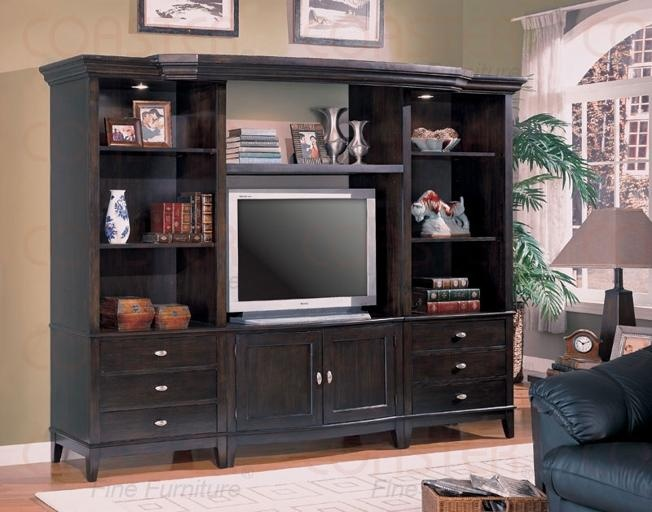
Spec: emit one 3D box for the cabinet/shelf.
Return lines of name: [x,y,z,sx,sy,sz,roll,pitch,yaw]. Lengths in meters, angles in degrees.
cabinet/shelf: [-0.098,0.092,3.995,2.882,2.285,0.792,0,3,-24]

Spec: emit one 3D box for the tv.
tv: [-0.191,-0.005,3.898,0.922,0.718,0.202,-1,-1,-24]

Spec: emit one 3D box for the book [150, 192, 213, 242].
book: [-0.829,-0.202,3.623,0.299,0.359,0.389,0,-1,-18]

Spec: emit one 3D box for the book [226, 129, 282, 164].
book: [-0.420,-0.641,3.758,0.337,0.210,0.230,0,-1,-27]

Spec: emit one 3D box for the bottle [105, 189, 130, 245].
bottle: [-1.175,-0.221,3.562,0.125,0.318,0.217,-1,0,-19]

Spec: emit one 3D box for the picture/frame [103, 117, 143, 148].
picture/frame: [-1.129,-0.694,3.537,0.218,0.173,0.022,-3,-4,-33]
